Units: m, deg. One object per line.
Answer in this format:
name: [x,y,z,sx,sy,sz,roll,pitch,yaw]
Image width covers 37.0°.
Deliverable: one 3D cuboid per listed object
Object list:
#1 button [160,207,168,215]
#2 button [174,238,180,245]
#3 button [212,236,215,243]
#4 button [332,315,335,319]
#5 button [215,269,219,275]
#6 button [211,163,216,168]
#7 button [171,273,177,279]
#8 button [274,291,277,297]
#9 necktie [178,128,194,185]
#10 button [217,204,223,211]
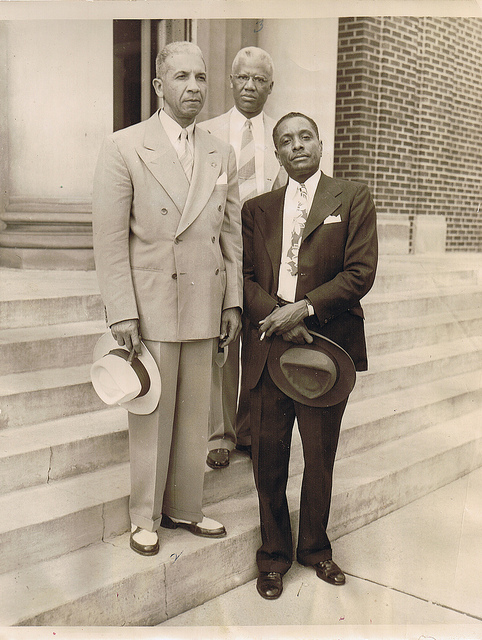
button: [-0.243,-0.341,2.265,0.016,0.022,0.004,1,-1,-6]
button: [-0.204,-0.251,2.282,0.013,0.018,0.004,-6,9,-25]
button: [-0.090,-0.264,2.362,0.003,0.021,0.016,7,22,15]
button: [0.301,-0.011,2.330,0.005,0.006,0.016,4,18,-20]
button: [-0.079,-0.160,2.387,0.002,0.020,0.026,10,24,24]
button: [-0.090,-0.509,2.366,0.013,0.016,0.003,1,4,-45]
button: [-0.215,-0.141,2.305,0.012,0.017,0.005,0,3,-10]
button: [0.117,-0.086,2.400,0.009,0.019,0.003,6,19,13]
necktie: [-0.174,-0.536,2.319,0.040,0.195,0.017,-6,44,-5]
button: [-0.070,-0.371,2.373,0.002,0.023,0.019,-2,8,31]
